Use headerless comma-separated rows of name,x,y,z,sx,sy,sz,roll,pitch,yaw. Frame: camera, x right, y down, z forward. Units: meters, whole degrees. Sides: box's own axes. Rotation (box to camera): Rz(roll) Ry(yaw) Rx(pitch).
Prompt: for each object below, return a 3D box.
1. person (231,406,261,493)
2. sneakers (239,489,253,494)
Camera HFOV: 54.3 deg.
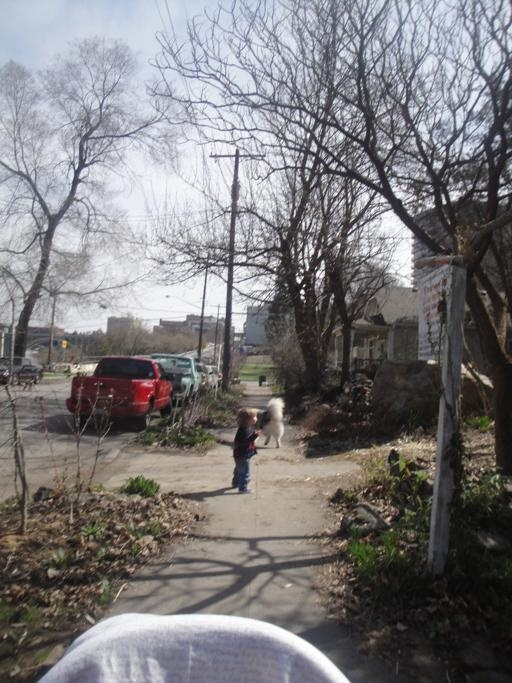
person,-0.159,1.462,6.760,0.330,1.085,0.474,2,-3,-3
sneakers,-0.146,1.969,6.578,0.162,0.082,0.059,-1,-1,-10
